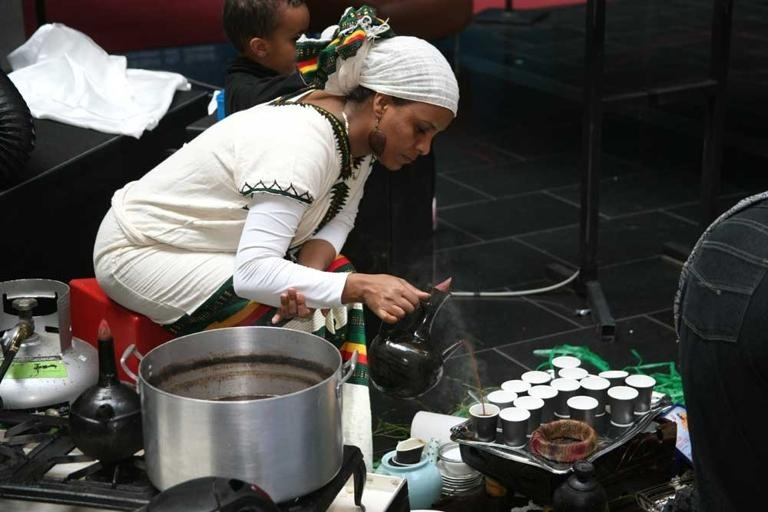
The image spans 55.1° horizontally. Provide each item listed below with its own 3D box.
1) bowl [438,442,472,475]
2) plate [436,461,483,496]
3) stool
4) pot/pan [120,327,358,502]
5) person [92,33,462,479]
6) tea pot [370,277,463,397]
[{"bbox_3d":[0.224,0.680,2.456,0.094,0.036,0.093,-2,22,1],"label":"bowl"},{"bbox_3d":[0.252,0.732,2.437,0.113,0.046,0.111,-7,9,-43],"label":"plate"},{"bbox_3d":[-0.851,0.205,2.664,0.386,0.373,0.391,20,22,32],"label":"stool"},{"bbox_3d":[-0.317,0.349,1.677,0.494,0.235,0.409,3,20,10],"label":"pot/pan"},{"bbox_3d":[-0.423,-0.211,2.518,0.942,1.484,0.908,-16,31,-29],"label":"person"},{"bbox_3d":[0.079,0.230,2.170,0.243,0.353,0.178,4,10,22],"label":"tea pot"}]
